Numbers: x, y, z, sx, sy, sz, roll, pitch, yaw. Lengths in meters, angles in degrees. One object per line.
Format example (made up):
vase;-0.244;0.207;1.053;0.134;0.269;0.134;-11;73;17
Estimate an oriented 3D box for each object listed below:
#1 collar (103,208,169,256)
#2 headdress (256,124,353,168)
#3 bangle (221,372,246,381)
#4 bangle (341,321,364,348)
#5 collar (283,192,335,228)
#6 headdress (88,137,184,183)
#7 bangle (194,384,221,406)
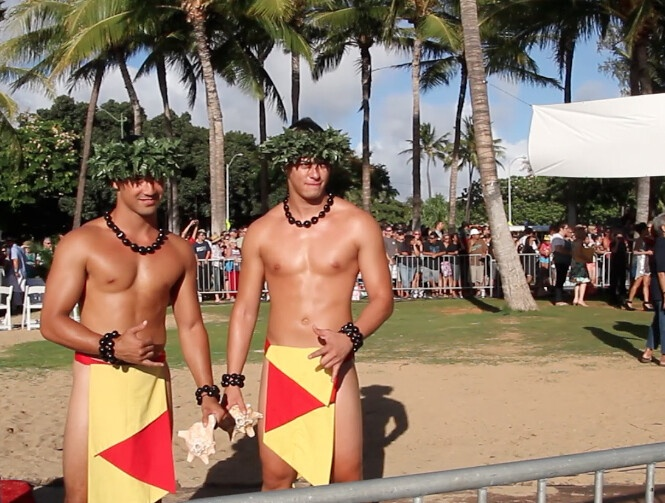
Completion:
collar;-1.418;-0.128;5.736;0.434;0.294;0.176;-3;5;-15
headdress;-0.280;-0.802;6.335;0.708;0.322;0.837;6;0;-5
bangle;-0.743;0.927;5.903;0.160;0.071;0.149;-3;6;-14
bangle;0.168;0.599;5.702;0.174;0.137;0.059;29;-57;-28
collar;-0.184;-0.308;6.072;0.390;0.238;0.171;-2;5;-4
headdress;-1.478;-0.706;5.847;0.586;0.295;0.517;-13;-3;-36
bangle;-0.912;1.042;5.816;0.148;0.155;0.065;0;9;-5
